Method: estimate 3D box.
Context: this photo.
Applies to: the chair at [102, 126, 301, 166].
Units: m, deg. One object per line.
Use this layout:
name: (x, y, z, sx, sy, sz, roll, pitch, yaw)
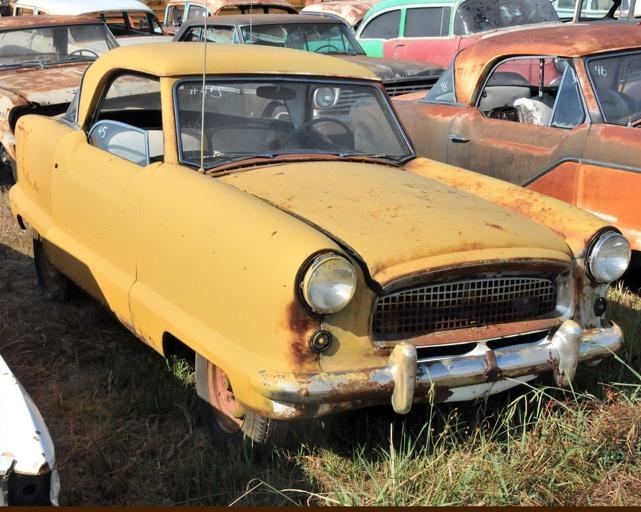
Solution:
chair: (-0.698, -0.621, 3.097, 0.578, 0.157, 0.337, -2, 13, -42)
